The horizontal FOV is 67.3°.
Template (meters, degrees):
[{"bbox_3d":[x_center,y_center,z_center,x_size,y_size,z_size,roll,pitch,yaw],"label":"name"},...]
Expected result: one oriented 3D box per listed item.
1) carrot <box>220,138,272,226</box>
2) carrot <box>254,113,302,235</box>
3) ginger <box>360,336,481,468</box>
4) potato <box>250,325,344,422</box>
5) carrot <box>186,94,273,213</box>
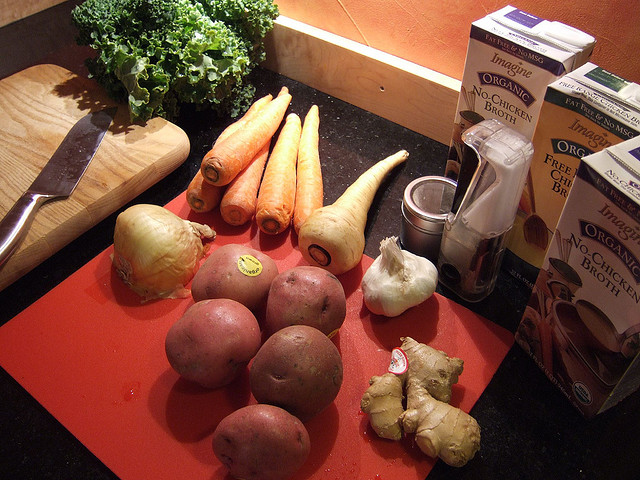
[{"bbox_3d":[-0.191,-0.140,1.209,0.060,0.062,0.276,25,49,-11],"label":"carrot"},{"bbox_3d":[-0.110,-0.162,1.247,0.077,0.088,0.394,-2,49,15],"label":"carrot"},{"bbox_3d":[0.199,0.300,0.909,0.221,0.075,0.190,23,55,13],"label":"ginger"},{"bbox_3d":[-0.042,0.236,0.876,0.164,0.095,0.136,11,52,5],"label":"potato"},{"bbox_3d":[-0.192,-0.334,1.478,0.112,0.132,0.534,15,41,16],"label":"carrot"}]
